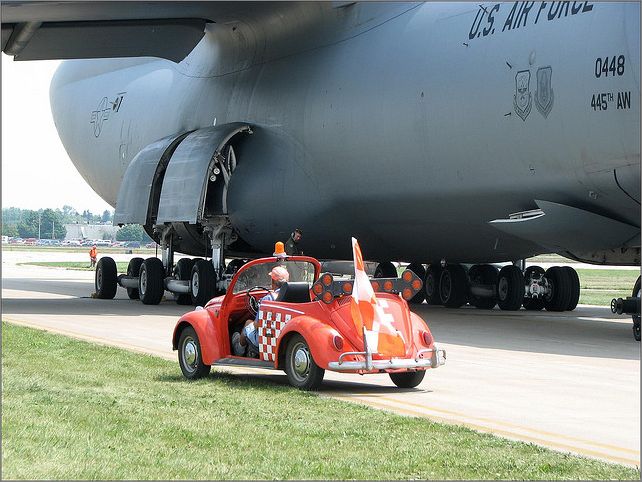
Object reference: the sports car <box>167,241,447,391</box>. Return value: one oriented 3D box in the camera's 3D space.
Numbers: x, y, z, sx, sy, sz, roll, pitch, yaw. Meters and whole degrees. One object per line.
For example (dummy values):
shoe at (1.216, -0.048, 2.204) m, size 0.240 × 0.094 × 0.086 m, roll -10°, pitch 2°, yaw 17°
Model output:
sports car at (-0.490, 0.946, 9.491) m, size 2.059 × 1.805 × 3.650 m, roll 5°, pitch -2°, yaw -44°

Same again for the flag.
flag at (0.791, 0.922, 8.530) m, size 0.732 × 1.337 × 0.343 m, roll 2°, pitch -2°, yaw 2°
